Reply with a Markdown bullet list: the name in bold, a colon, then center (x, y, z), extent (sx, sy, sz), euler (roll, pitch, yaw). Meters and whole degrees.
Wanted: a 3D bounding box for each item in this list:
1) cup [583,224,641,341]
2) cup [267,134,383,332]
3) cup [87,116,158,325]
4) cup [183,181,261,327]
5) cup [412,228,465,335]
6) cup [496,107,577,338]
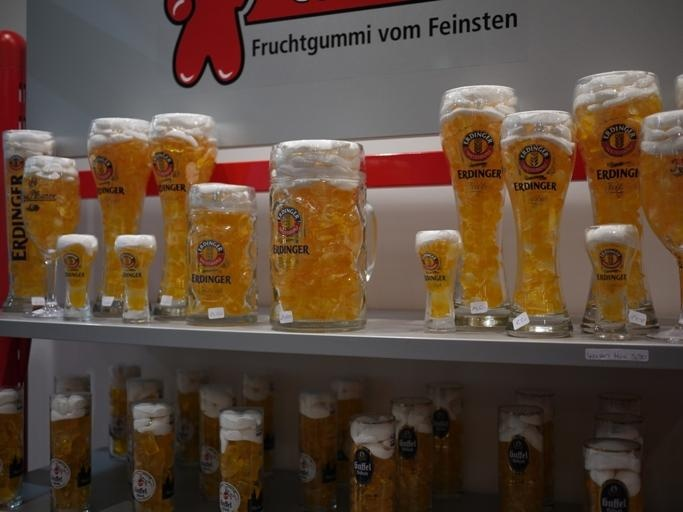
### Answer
- **cup**: center (0.501, 0.048, 1.173), extent (0.087, 0.208, 0.049), euler (-2, -6, 24)
- **cup**: center (-0.045, -0.040, 1.314), extent (0.201, 0.382, 0.104), euler (1, -5, -7)
- **cup**: center (-0.573, -0.097, 1.579), extent (0.213, 0.486, 0.131), euler (-5, -7, 42)
- **cup**: center (-0.258, -0.002, 1.385), extent (0.144, 0.296, 0.069), euler (1, -5, -11)
- **cup**: center (0.198, 0.049, 1.284), extent (0.088, 0.198, 0.060), euler (-1, -5, 10)
- **cup**: center (0.388, -0.067, 1.245), extent (0.140, 0.444, 0.117), euler (-1, -5, 14)
